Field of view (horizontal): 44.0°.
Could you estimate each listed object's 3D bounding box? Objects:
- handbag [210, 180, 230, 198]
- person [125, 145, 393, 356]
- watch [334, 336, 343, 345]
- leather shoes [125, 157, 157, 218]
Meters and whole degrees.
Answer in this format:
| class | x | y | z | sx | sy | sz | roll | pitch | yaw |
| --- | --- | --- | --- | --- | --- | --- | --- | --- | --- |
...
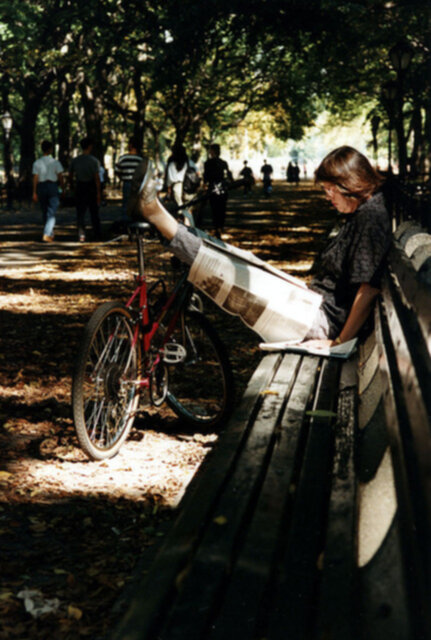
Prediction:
| class | x | y | z | sx | sy | sz | roll | pitch | yaw |
| --- | --- | --- | --- | --- | --- | --- | --- | --- | --- |
| handbag | 0.026 | -0.852 | 3.492 | 0.092 | 0.119 | 0.187 | -6 | 9 | 20 |
| person | 0.216 | -0.453 | 3.521 | 1.600 | 1.206 | 0.998 | 8 | 7 | 5 |
| watch | 0.740 | 0.123 | 3.178 | 0.028 | 0.047 | 0.020 | 20 | 6 | 43 |
| leather shoes | -0.400 | -0.691 | 2.899 | 0.143 | 0.330 | 0.113 | 9 | 22 | -22 |
